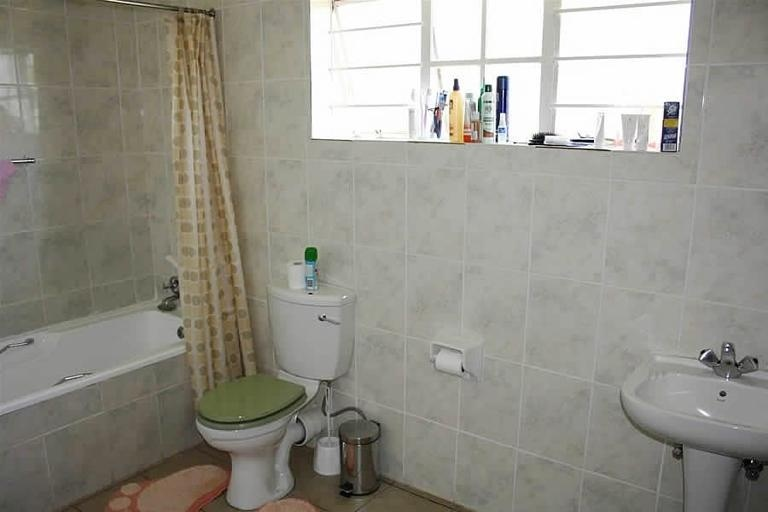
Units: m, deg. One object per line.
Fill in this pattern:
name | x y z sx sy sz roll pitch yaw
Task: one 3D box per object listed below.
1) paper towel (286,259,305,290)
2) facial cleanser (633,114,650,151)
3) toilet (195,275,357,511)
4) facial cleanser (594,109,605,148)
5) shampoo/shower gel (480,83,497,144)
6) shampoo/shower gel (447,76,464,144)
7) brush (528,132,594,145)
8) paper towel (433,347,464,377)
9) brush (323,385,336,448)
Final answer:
paper towel | -0.504 0.112 3.321 0.133 0.137 0.135 3 6 17
facial cleanser | 1.140 -0.546 2.562 0.058 0.156 0.054 8 15 25
toilet | -0.626 0.768 3.283 0.519 1.135 0.806 13 18 38
facial cleanser | 0.985 -0.572 2.639 0.044 0.153 0.056 6 15 18
shampoo/shower gel | 0.513 -0.701 2.857 0.090 0.281 0.072 5 14 12
shampoo/shower gel | 0.372 -0.728 2.910 0.056 0.310 0.090 -10 18 -39
brush | 0.839 -0.550 2.743 0.288 0.053 0.119 4 14 11
paper towel | 0.342 0.536 2.979 0.157 0.120 0.121 5 51 27
brush | -0.325 0.949 3.396 0.056 0.080 0.397 24 39 -31
